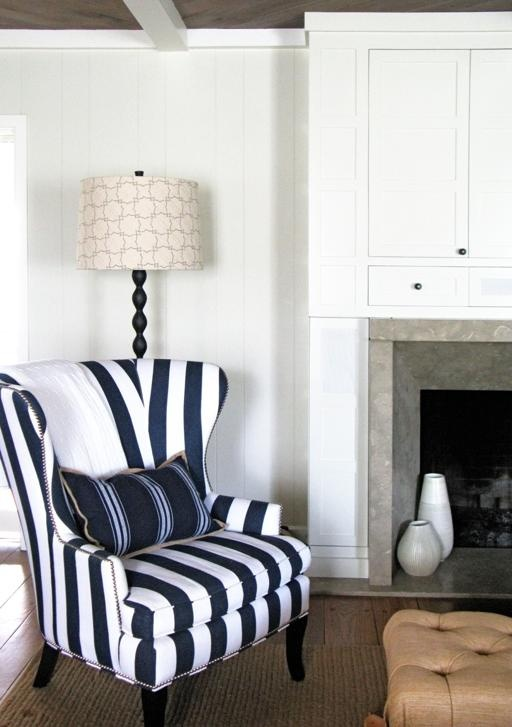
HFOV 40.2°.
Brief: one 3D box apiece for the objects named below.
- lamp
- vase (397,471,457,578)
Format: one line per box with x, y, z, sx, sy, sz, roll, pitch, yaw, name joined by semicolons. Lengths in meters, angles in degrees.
-0.441;-0.321;2.676;0.494;0.724;0.453;-3;14;-16;lamp
0.695;0.663;2.861;0.196;0.362;0.363;2;6;18;vase
